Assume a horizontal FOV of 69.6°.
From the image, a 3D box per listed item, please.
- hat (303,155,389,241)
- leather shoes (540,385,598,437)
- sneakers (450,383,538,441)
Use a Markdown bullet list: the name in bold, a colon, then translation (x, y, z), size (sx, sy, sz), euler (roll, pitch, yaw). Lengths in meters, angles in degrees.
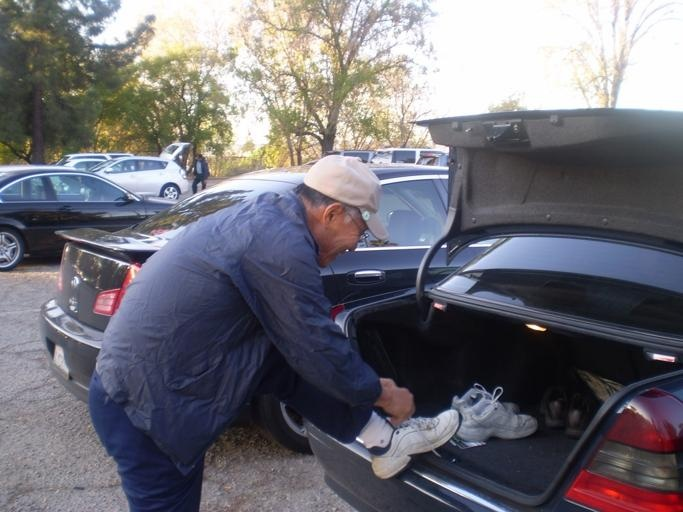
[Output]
- **hat**: translation (0.032, -0.237, 1.954), size (0.366, 0.225, 0.261), euler (24, -2, -4)
- **leather shoes**: translation (1.323, 0.921, 2.903), size (0.146, 0.137, 0.335), euler (2, 4, 11)
- **sneakers**: translation (0.837, 0.899, 2.824), size (0.444, 0.229, 0.286), euler (-4, 9, -25)
